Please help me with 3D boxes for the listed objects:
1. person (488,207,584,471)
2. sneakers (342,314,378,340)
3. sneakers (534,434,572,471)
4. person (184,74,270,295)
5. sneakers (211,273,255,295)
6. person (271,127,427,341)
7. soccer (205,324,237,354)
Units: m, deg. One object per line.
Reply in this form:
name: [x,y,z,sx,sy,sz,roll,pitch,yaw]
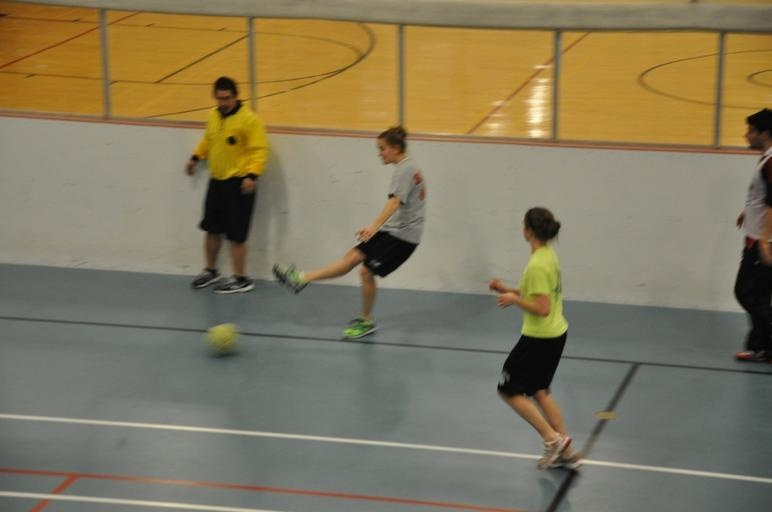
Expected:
person: [1.409,0.767,8.720,0.708,2.451,1.109,-1,-8,21]
sneakers: [-0.312,0.883,11.388,0.465,0.179,0.202,-9,12,-17]
sneakers: [1.590,1.841,8.709,0.221,0.163,0.432,23,-46,-12]
person: [-2.095,-0.893,12.455,0.839,2.753,1.255,4,-8,-13]
sneakers: [-2.073,0.403,12.716,0.482,0.178,0.244,-1,3,-19]
person: [-0.255,-0.270,11.143,1.383,2.513,0.812,1,-8,7]
soccer: [-1.949,0.987,10.984,0.359,0.351,0.452,4,-8,-11]
